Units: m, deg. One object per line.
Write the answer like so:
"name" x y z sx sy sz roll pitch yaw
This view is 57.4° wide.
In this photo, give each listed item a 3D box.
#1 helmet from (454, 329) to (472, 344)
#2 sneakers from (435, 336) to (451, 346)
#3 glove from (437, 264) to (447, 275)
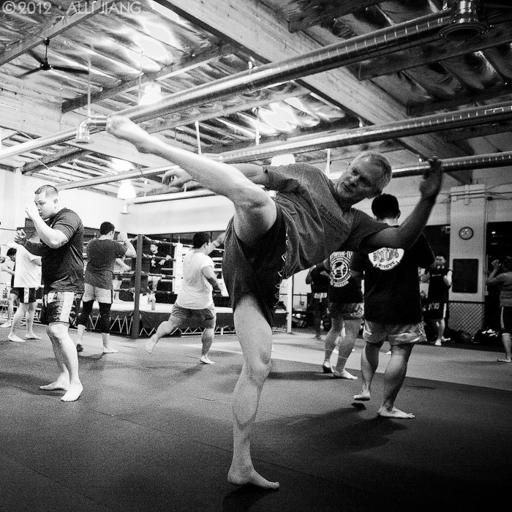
"helmet" 4.392 1.678 9.866 0.284 0.257 0.221 -16 13 -28
"sneakers" 3.768 1.696 9.385 0.200 0.231 0.595 -8 -13 36
"glove" 3.326 0.219 8.318 0.213 0.138 0.253 6 17 21
